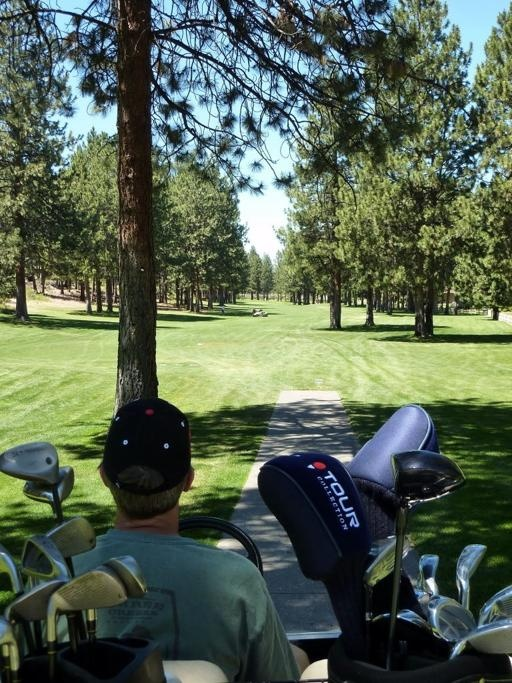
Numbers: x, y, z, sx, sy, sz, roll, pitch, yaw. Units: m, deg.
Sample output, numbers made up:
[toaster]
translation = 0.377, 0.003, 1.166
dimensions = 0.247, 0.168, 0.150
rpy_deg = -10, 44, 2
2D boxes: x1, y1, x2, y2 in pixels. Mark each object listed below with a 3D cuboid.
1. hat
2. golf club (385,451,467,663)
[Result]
[hat]
translation = -0.257, 0.244, 1.435
dimensions = 0.167, 0.095, 0.239
rpy_deg = 6, 42, -2
[golf club]
translation = 0.317, 0.450, 1.151
dimensions = 0.161, 0.470, 0.165
rpy_deg = -5, -13, 22
